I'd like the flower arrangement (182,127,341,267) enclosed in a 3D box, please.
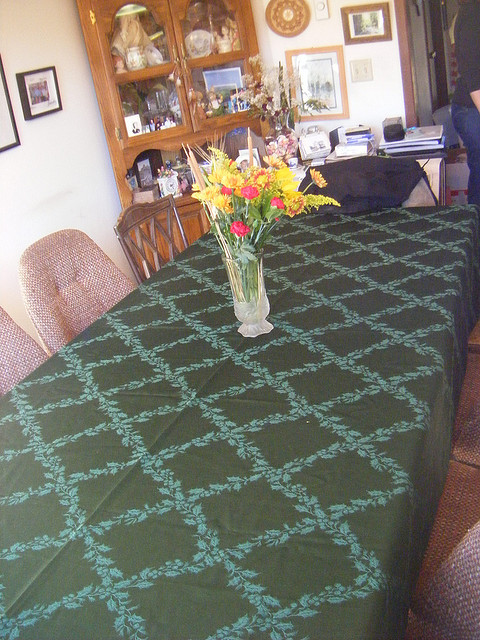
[{"bbox_3d":[0.038,-0.280,1.144,0.259,0.252,0.286,-8,5,-30],"label":"flower arrangement"}]

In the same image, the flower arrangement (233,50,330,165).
[{"bbox_3d":[0.285,-1.349,3.202,0.499,0.561,0.389,-4,11,11],"label":"flower arrangement"}]

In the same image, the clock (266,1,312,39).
[{"bbox_3d":[0.312,-1.961,3.216,0.229,0.227,0.054,-9,26,26],"label":"clock"}]

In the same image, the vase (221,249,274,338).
[{"bbox_3d":[0.021,-0.074,1.255,0.111,0.217,0.108,-11,22,-9],"label":"vase"}]

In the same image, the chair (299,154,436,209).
[{"bbox_3d":[0.564,-0.576,2.147,0.523,0.224,0.384,-7,23,11],"label":"chair"}]
